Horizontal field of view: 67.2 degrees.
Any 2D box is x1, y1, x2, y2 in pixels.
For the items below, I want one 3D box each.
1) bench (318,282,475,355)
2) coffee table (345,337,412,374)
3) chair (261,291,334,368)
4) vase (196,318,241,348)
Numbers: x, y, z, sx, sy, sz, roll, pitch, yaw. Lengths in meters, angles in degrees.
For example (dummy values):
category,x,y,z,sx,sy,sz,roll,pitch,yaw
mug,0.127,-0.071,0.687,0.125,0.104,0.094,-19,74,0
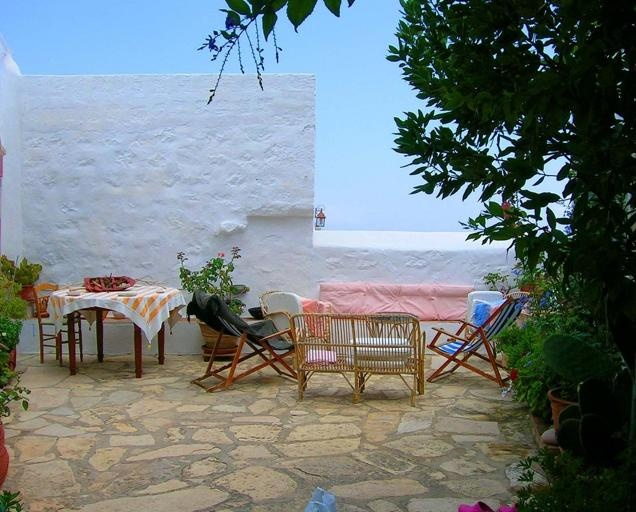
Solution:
category,x,y,z,sx,sy,sz,roll,pitch,yaw
bench,1.326,1.148,8.244,2.986,0.815,0.895,0,-5,-2
coffee table,0.619,0.953,4.641,0.576,0.321,0.264,0,-1,3
chair,-0.360,0.717,6.255,0.702,0.654,0.684,2,5,31
vase,-1.404,1.072,6.648,0.511,0.242,0.453,1,-5,1
